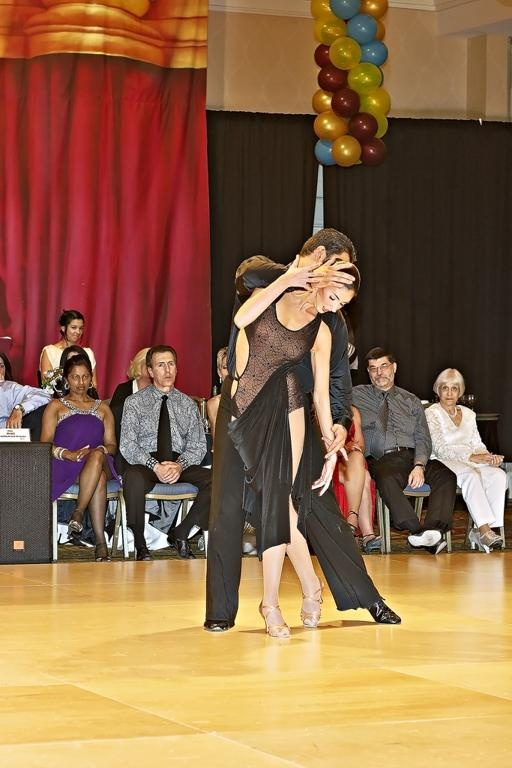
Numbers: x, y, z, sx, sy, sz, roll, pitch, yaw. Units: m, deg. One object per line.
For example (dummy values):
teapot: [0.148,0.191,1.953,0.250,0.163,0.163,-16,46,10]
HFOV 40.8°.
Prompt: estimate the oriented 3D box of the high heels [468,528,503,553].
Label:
high heels: [1.716,1.196,5.214,0.127,0.157,0.345,3,-8,-26]

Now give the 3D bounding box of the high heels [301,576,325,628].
high heels: [0.204,0.834,2.648,0.063,0.203,0.055,1,0,12]

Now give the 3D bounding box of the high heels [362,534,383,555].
high heels: [0.859,1.197,5.121,0.078,0.087,0.221,0,-15,-12]

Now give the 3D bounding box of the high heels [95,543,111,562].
high heels: [-1.043,1.139,4.667,0.086,0.106,0.226,0,-3,-14]

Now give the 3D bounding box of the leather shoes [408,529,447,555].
leather shoes: [1.243,1.144,5.017,0.259,0.149,0.094,1,15,14]

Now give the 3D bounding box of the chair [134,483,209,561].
chair: [-0.637,0.969,5.112,0.360,0.381,0.366,6,5,-5]

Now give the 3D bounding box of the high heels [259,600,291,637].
high heels: [0.064,0.824,2.427,0.057,0.064,0.166,-2,4,-17]

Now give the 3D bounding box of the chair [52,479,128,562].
chair: [-1.251,0.971,5.010,0.553,0.633,0.656,0,-2,-17]

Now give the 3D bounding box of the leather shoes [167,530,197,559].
leather shoes: [-0.529,1.143,4.923,0.195,0.202,0.422,0,-3,-9]

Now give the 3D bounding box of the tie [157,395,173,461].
tie: [-0.695,0.330,5.182,0.107,0.489,0.089,1,-3,-36]

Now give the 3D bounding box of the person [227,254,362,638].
person: [0.127,0.223,2.371,0.440,1.359,0.645,0,-2,-2]

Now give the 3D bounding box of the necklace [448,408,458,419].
necklace: [1.678,0.253,5.858,0.068,0.087,0.032,-6,-14,-3]

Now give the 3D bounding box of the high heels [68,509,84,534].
high heels: [-1.273,1.015,4.859,0.082,0.087,0.245,13,-42,-4]

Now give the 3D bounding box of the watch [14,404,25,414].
watch: [-1.789,0.191,5.220,0.053,0.059,0.025,-4,-22,-23]
